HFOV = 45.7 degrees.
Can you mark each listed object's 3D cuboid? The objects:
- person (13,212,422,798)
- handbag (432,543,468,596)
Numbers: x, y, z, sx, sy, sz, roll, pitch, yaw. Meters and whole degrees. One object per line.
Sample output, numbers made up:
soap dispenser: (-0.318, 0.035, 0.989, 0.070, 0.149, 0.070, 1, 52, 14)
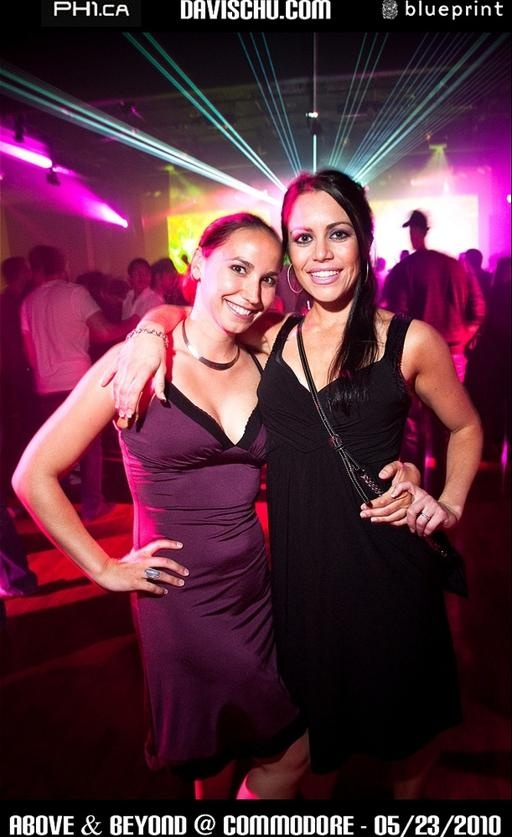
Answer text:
person: (-0.264, 0.401, 1.937, 0.793, 2.032, 0.514, -4, 15, -10)
handbag: (0.572, 0.452, 1.848, 0.120, 0.152, 0.052, 6, -22, -45)
